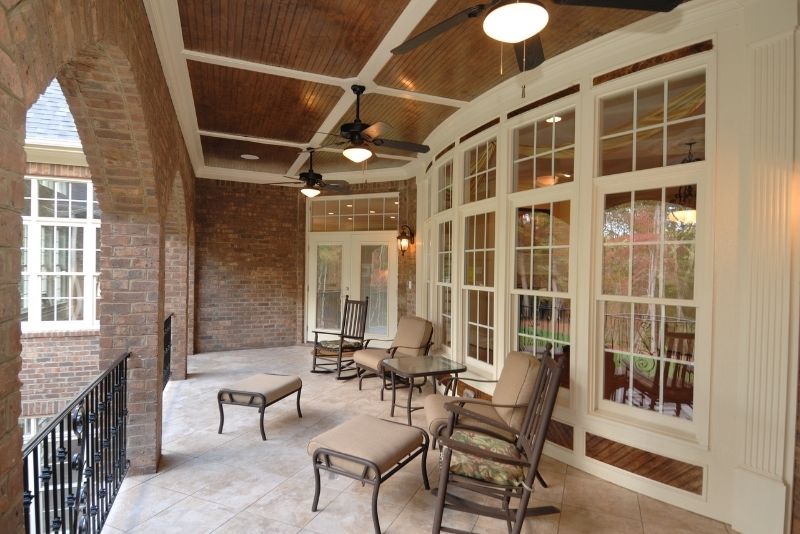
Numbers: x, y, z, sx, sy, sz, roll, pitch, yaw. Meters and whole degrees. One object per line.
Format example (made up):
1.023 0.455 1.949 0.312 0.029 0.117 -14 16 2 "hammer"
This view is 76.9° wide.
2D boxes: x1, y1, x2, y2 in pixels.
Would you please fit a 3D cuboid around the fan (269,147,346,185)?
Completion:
-1.354 -1.665 8.110 0.864 0.354 0.820 1 1 8 "fan"

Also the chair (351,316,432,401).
-0.158 1.298 7.583 1.062 0.929 0.931 -8 8 -44 "chair"

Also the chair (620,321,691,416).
2.435 0.961 4.849 0.602 0.888 0.275 1 -1 19 "chair"

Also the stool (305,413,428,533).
-0.383 1.881 4.783 0.983 0.659 0.905 3 5 28 "stool"

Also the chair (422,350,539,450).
0.842 1.435 5.377 1.269 0.891 0.978 -6 5 -2 "chair"

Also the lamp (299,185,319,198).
-1.487 -1.217 8.283 0.427 0.161 0.389 0 -4 0 "lamp"

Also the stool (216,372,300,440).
-1.720 1.630 6.087 0.721 0.643 0.845 1 -2 21 "stool"

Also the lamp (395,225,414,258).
0.043 -0.490 9.366 0.278 0.433 0.548 2 -2 -10 "lamp"

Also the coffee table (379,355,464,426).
0.217 1.463 6.348 0.925 0.595 0.902 2 -4 -26 "coffee table"

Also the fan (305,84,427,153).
-0.346 -1.742 6.252 1.002 0.651 0.816 1 -2 25 "fan"
